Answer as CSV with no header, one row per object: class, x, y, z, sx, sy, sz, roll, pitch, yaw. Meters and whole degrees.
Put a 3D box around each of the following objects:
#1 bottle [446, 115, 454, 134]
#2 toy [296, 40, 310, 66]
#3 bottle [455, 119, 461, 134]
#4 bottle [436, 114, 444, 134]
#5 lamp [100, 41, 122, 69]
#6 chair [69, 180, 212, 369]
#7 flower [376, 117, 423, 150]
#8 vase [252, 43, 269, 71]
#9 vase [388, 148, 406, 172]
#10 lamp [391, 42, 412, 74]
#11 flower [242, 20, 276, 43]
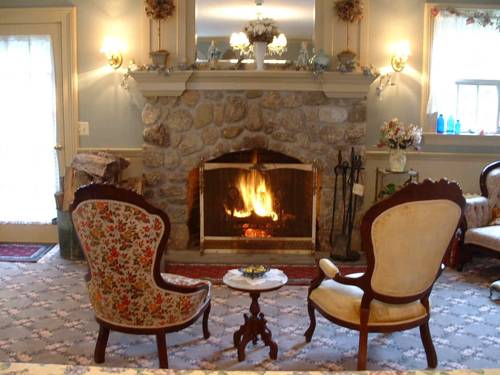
bottle,2.415,-0.765,4.909,0.094,0.208,0.145,5,14,27
toy,0.584,-1.455,4.461,0.139,0.281,0.133,0,13,6
bottle,2.512,-0.734,4.923,0.068,0.160,0.189,5,14,27
bottle,2.285,-0.764,4.866,0.124,0.222,0.057,-6,13,-21
lamp,-1.569,-1.514,4.640,0.209,0.298,0.074,-8,23,6
chair,-0.725,0.423,3.074,0.970,1.551,1.086,4,14,14
flower,1.679,-0.592,4.579,0.420,0.368,0.608,4,14,22
vase,0.103,-1.407,4.379,0.136,0.282,0.075,-1,13,2
vase,1.592,-0.303,4.414,0.210,0.245,0.217,0,3,-2
lamp,1.752,-1.497,4.685,0.225,0.339,0.224,-1,13,2
flower,0.118,-1.649,4.302,0.265,0.277,0.265,2,22,4
